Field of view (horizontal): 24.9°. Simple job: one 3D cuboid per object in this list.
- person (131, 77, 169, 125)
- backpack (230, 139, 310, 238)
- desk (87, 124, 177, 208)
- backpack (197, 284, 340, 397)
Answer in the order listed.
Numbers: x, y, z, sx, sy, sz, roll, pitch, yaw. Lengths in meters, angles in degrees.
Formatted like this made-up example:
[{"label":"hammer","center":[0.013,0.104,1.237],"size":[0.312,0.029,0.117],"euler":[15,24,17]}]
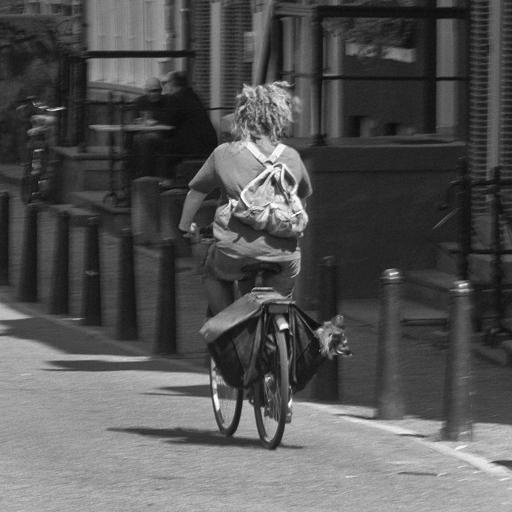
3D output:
[{"label":"person","center":[-1.206,-1.802,13.445],"size":[0.574,0.644,0.218],"euler":[5,9,27]},{"label":"backpack","center":[0.037,-0.338,5.677],"size":[0.458,0.427,0.306],"euler":[7,1,-34]},{"label":"desk","center":[-1.357,-1.079,14.084],"size":[1.139,0.969,1.144],"euler":[3,4,36]},{"label":"backpack","center":[0.041,0.414,5.804],"size":[0.399,0.404,0.750],"euler":[-10,1,-18]}]
